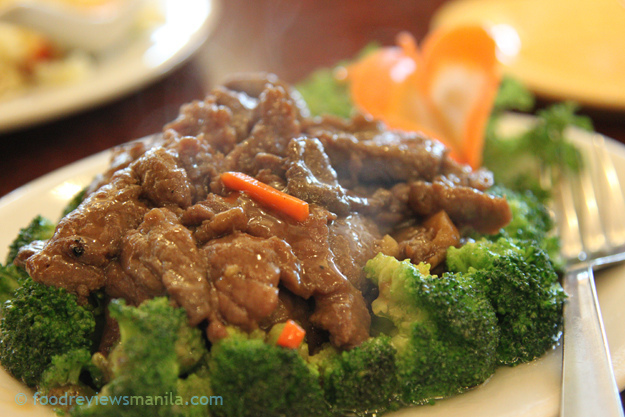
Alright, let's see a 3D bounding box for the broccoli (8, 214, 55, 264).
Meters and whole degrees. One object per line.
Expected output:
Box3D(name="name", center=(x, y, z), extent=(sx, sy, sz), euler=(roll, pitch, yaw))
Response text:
Box3D(name="broccoli", center=(-2.739, 0.247, 5.510), extent=(0.479, 0.186, 0.437), euler=(-21, 54, -21))
